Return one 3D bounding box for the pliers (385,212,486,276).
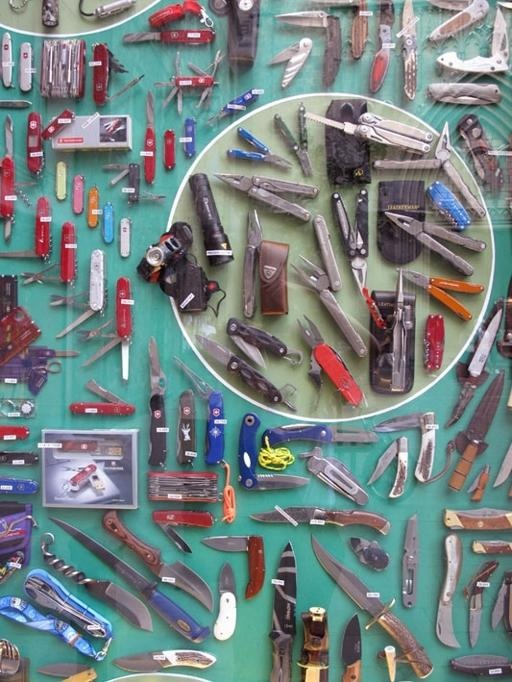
[{"bbox_3d":[0.581,-0.336,2.439,0.383,0.039,0.147,30,88,-4],"label":"pliers"}]

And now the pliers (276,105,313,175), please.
[{"bbox_3d":[0.117,-0.652,2.390,0.107,0.207,0.074,4,26,17],"label":"pliers"}]
